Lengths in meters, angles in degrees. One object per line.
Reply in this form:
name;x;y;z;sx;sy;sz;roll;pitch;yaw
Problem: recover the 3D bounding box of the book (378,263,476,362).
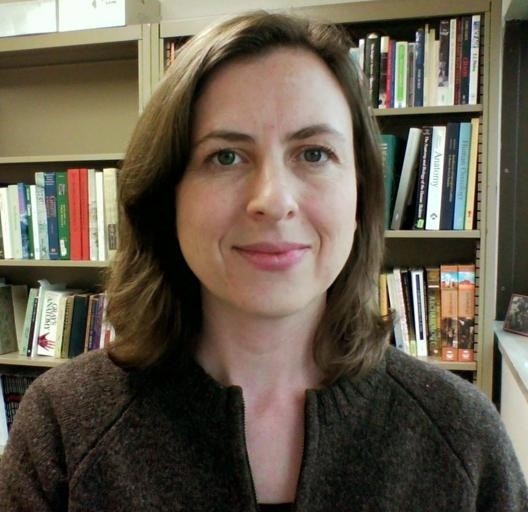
book;0.574;0.174;2.106;0.333;0.420;0.444;-1;0;8
